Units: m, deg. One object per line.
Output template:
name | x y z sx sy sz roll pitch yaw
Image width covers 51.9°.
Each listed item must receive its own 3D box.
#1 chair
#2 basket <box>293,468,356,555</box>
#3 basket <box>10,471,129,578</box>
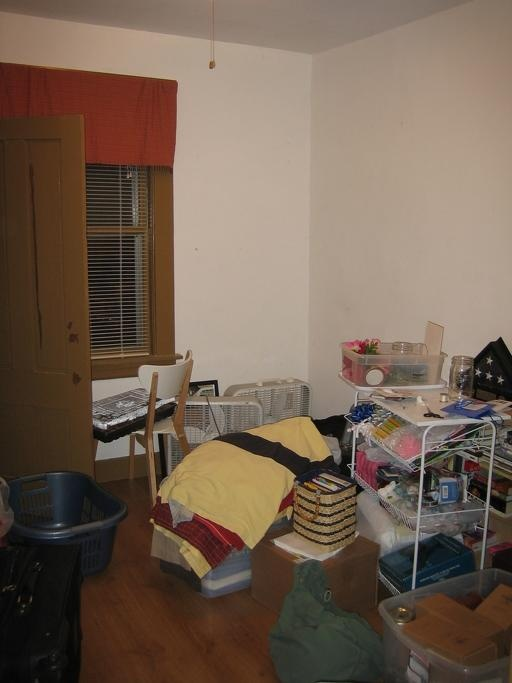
chair | -0.570 0.487 3.054 0.502 0.813 0.690 -15 9 -35
basket | 0.284 0.695 2.138 0.250 0.227 0.280 1 -6 -16
basket | -0.849 0.780 2.378 0.394 0.223 0.518 -1 8 -28
